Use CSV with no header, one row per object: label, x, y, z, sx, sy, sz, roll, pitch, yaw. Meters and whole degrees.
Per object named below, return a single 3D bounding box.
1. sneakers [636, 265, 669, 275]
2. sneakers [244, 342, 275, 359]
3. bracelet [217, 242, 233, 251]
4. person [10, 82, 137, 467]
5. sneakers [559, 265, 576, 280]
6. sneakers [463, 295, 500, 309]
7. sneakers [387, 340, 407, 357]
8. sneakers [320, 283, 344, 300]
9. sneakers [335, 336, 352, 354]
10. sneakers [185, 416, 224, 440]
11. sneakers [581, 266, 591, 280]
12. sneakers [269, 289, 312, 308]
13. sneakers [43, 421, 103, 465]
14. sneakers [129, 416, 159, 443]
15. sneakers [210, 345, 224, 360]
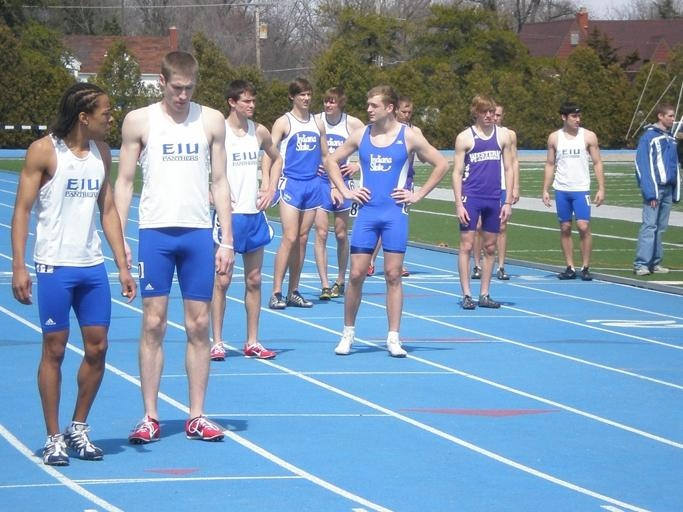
sneakers,4.717,0.212,12.733,0.275,0.127,0.103,-5,12,-10
sneakers,-0.792,0.890,7.915,0.317,0.144,0.120,3,1,15
bracelet,-0.810,-0.071,5.777,0.070,0.018,0.073,15,-6,3
person,-1.695,0.096,5.303,0.751,2.368,0.480,-3,8,-28
sneakers,3.415,0.252,12.674,0.323,0.214,0.132,0,7,-6
sneakers,1.693,0.575,10.364,0.365,0.143,0.208,-1,4,-14
sneakers,0.532,0.896,7.999,0.093,0.106,0.233,1,-6,-18
sneakers,-0.116,0.472,11.056,0.140,0.175,0.428,-2,-2,8
sneakers,0.017,0.869,8.078,0.156,0.169,0.110,1,7,-1
sneakers,-0.940,1.184,5.725,0.262,0.124,0.127,-4,-5,40
sneakers,3.663,0.262,12.552,0.127,0.194,0.051,13,-34,-10
sneakers,-0.648,0.526,10.248,0.556,0.242,0.208,0,3,-12
sneakers,-1.717,1.173,5.266,0.218,0.176,0.351,1,-3,-31
sneakers,-1.340,1.179,5.606,0.099,0.131,0.275,-2,-10,13
sneakers,-1.159,0.896,7.800,0.118,0.162,0.341,1,-3,-15
